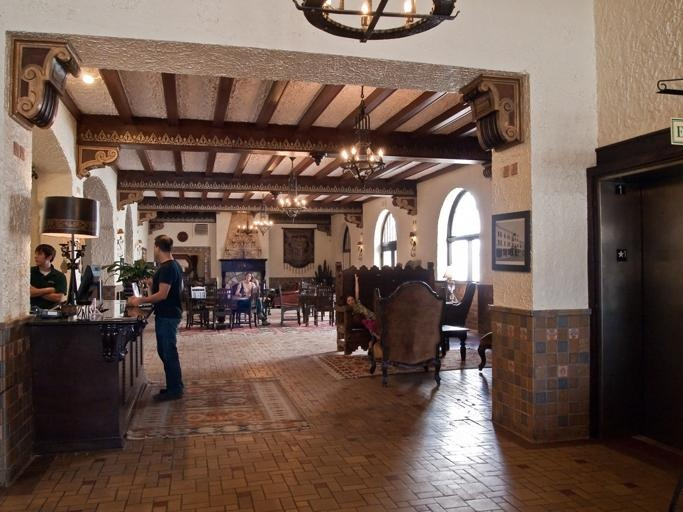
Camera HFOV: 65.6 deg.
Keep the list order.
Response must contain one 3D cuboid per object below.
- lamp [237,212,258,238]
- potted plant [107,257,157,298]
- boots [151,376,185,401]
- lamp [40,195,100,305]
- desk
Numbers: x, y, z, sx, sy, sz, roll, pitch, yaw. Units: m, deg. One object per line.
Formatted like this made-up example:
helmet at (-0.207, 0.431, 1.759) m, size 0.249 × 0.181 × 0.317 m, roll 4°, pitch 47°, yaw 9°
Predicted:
lamp at (-3.953, -1.305, 22.057) m, size 0.887 × 0.986 × 1.584 m, roll -1°, pitch 1°, yaw -9°
potted plant at (-3.568, 0.378, 8.913) m, size 0.906 × 0.658 × 0.924 m, roll -3°, pitch -2°, yaw 18°
boots at (-2.160, 1.690, 6.602) m, size 0.368 × 0.257 × 0.148 m, roll 11°, pitch -9°, yaw -22°
lamp at (-3.179, -0.101, 6.245) m, size 0.524 × 1.158 × 2.079 m, roll -1°, pitch 2°, yaw -26°
desk at (-2.546, 1.199, 5.444) m, size 1.008 × 1.268 × 0.964 m, roll -1°, pitch 1°, yaw -18°
